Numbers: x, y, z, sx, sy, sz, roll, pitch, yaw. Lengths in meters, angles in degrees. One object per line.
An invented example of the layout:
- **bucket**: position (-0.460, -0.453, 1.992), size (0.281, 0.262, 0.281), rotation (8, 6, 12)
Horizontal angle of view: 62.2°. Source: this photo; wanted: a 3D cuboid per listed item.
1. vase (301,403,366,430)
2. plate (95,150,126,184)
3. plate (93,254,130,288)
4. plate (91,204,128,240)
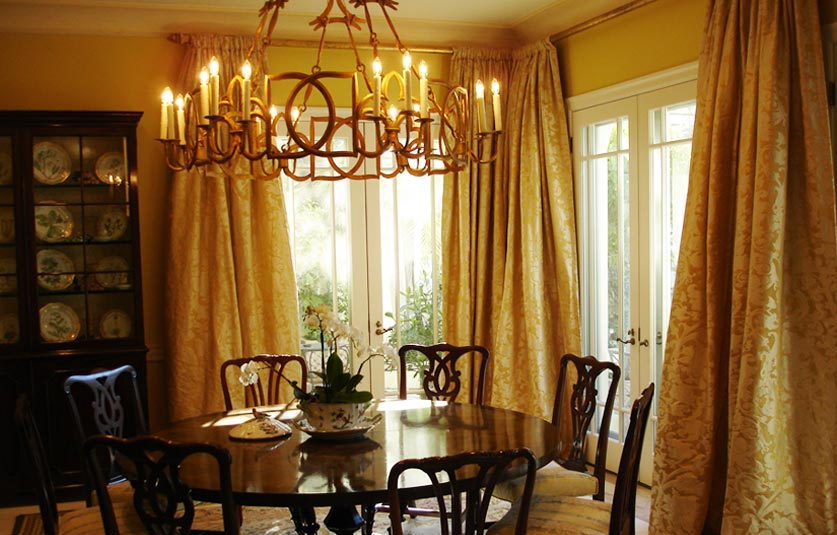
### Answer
- **vase**: position (-0.493, 0.873, 4.096), size (0.216, 0.094, 0.216), rotation (1, -3, -20)
- **plate**: position (-2.450, -0.801, 5.518), size (0.240, 0.250, 0.041), rotation (13, 5, -11)
- **plate**: position (-2.433, 0.024, 5.527), size (0.246, 0.255, 0.058), rotation (15, 3, -11)
- **plate**: position (-2.443, -0.365, 5.521), size (0.252, 0.272, 0.071), rotation (1, 5, -7)
